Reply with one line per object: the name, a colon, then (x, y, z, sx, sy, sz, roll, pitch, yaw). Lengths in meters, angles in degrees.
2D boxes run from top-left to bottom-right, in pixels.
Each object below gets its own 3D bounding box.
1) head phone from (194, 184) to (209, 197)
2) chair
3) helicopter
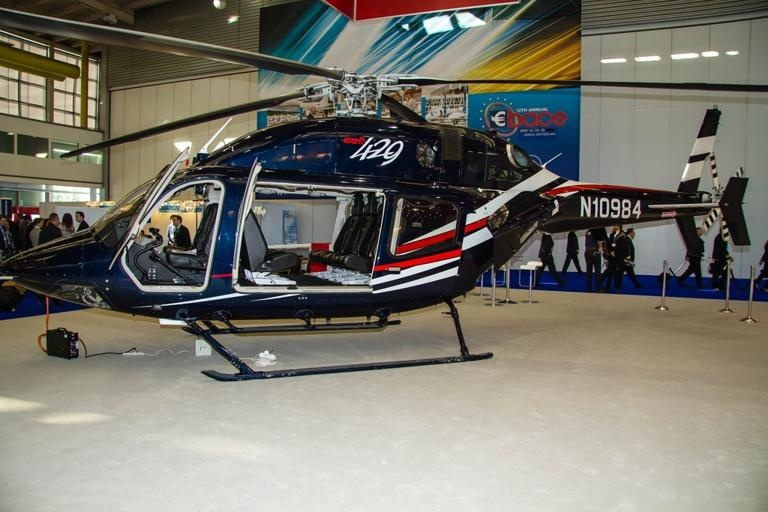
head phone: (-2.251, -0.811, 7.313, 0.163, 0.150, 0.186, 3, 3, -23)
chair: (-1.254, -0.058, 7.770, 3.162, 0.846, 1.521, 1, 1, -14)
helicopter: (0.002, -0.534, 8.587, 9.242, 2.329, 5.981, 0, 0, -18)
